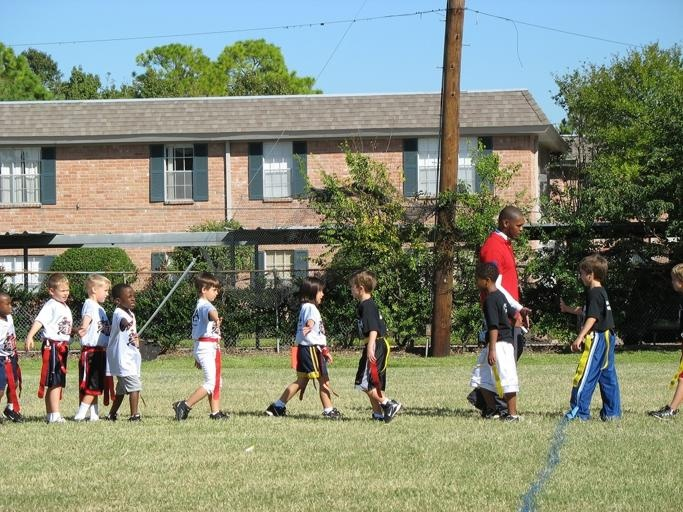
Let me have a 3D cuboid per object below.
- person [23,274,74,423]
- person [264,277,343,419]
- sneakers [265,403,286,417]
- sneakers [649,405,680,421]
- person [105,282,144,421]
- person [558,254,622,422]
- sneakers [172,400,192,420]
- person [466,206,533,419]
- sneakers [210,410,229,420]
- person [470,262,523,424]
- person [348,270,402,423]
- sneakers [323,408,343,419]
[{"bbox_3d":[-4.507,1.448,20.571,0.646,2.297,0.830,1,8,-2],"label":"person"},{"bbox_3d":[-0.525,1.429,20.566,1.076,2.162,0.623,1,8,-1],"label":"person"},{"bbox_3d":[-1.022,2.423,20.672,0.365,0.180,0.134,12,12,-22],"label":"sneakers"},{"bbox_3d":[4.908,2.397,20.134,0.405,0.193,0.173,2,-6,-4],"label":"sneakers"},{"bbox_3d":[-3.355,1.504,20.446,0.566,2.118,0.522,1,8,0],"label":"person"},{"bbox_3d":[3.867,1.229,20.029,0.758,2.437,0.677,2,8,10],"label":"person"},{"bbox_3d":[-2.471,2.381,20.405,0.271,0.429,0.147,-4,-1,8],"label":"sneakers"},{"bbox_3d":[2.634,0.830,20.774,1.048,3.322,1.070,9,17,31],"label":"person"},{"bbox_3d":[-1.896,2.465,20.490,0.312,0.144,0.120,1,3,-10],"label":"sneakers"},{"bbox_3d":[2.363,1.291,20.064,0.806,2.360,0.573,5,9,29],"label":"person"},{"bbox_3d":[0.501,1.373,20.349,0.737,2.283,0.791,1,8,0],"label":"person"},{"bbox_3d":[-0.139,2.441,20.511,0.329,0.174,0.127,2,0,1],"label":"sneakers"}]
